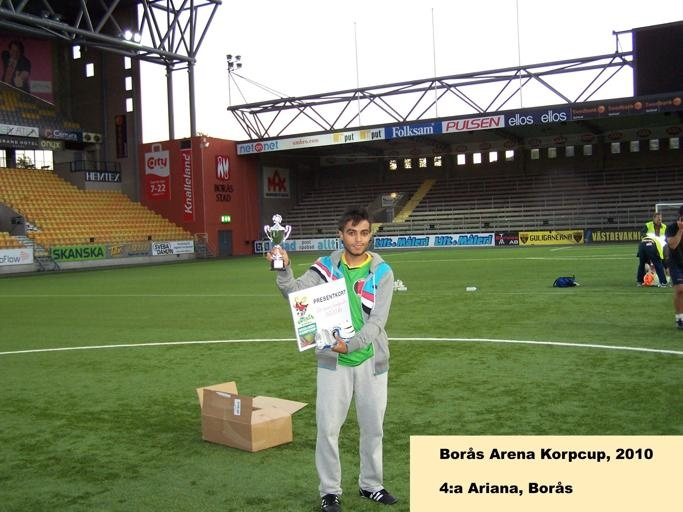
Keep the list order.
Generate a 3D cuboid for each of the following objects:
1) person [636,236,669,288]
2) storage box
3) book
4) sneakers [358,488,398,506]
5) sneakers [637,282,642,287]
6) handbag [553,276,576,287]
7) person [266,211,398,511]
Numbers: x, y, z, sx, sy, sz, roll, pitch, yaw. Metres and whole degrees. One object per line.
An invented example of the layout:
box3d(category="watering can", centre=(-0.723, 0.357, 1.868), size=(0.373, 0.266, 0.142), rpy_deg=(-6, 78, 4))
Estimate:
box3d(category="person", centre=(7.305, 0.055, 14.042), size=(0.552, 1.597, 0.500), rpy_deg=(13, 34, 29))
box3d(category="storage box", centre=(-0.782, 1.496, 5.502), size=(0.653, 0.426, 0.672), rpy_deg=(-1, -3, 39))
box3d(category="book", centre=(-0.143, 0.394, 4.038), size=(0.491, 0.465, 0.115), rpy_deg=(-11, 3, -30))
box3d(category="sneakers", centre=(0.274, 1.742, 4.396), size=(0.251, 0.106, 0.106), rpy_deg=(1, -2, 24))
box3d(category="sneakers", centre=(7.286, 0.721, 14.594), size=(0.063, 0.128, 0.185), rpy_deg=(-1, -19, 11))
box3d(category="handbag", centre=(5.657, 0.674, 15.060), size=(0.579, 0.220, 0.335), rpy_deg=(-1, 4, 13))
box3d(category="person", centre=(-0.008, 0.747, 4.305), size=(0.617, 2.153, 0.728), rpy_deg=(2, 5, 45))
